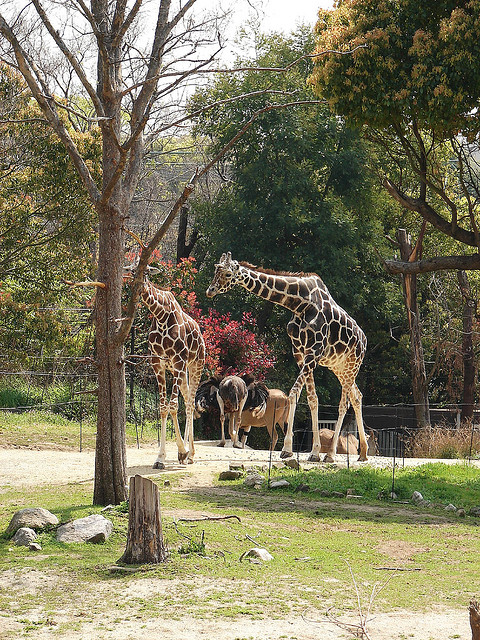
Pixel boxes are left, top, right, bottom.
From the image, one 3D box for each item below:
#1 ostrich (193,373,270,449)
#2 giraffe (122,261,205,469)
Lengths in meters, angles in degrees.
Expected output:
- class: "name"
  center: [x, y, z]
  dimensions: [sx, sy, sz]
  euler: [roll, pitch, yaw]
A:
- class: "ostrich"
  center: [-0.180, 1.597, 22.290]
  dimensions: [0.907, 1.304, 1.533]
  euler: [3, -7, 3]
- class: "giraffe"
  center: [-1.012, 0.793, 18.775]
  dimensions: [0.713, 2.966, 2.291]
  euler: [0, -9, 5]
